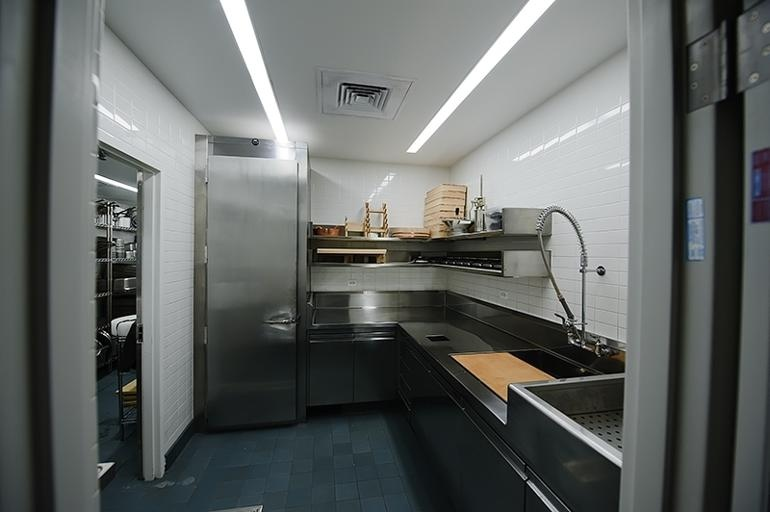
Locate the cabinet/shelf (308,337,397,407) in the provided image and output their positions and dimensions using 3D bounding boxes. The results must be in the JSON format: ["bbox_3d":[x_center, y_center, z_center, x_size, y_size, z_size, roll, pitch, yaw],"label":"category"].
[{"bbox_3d":[-0.288,0.822,3.802,0.719,0.470,0.365,2,-6,-23],"label":"cabinet/shelf"}]
